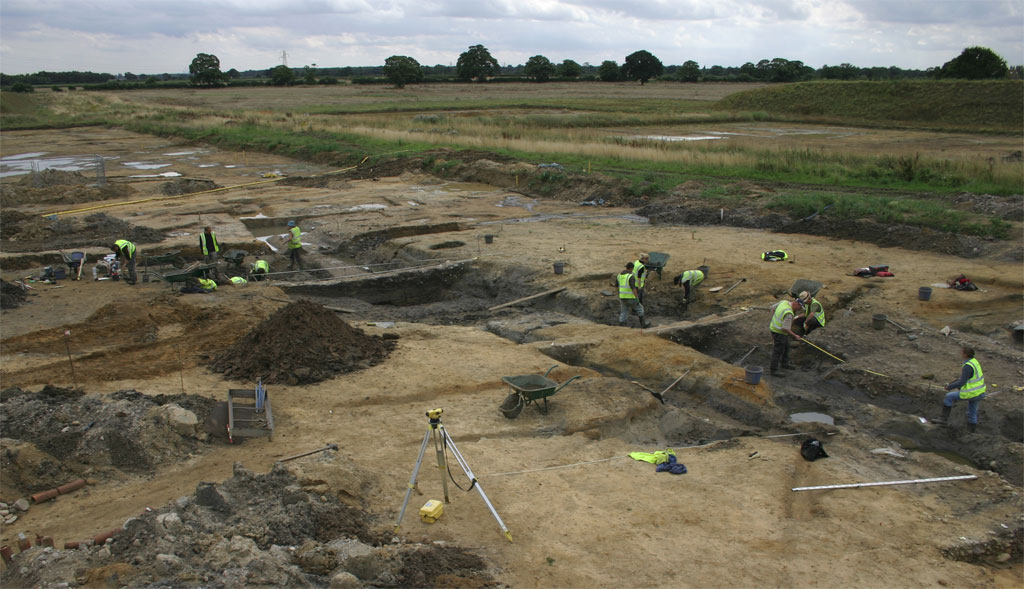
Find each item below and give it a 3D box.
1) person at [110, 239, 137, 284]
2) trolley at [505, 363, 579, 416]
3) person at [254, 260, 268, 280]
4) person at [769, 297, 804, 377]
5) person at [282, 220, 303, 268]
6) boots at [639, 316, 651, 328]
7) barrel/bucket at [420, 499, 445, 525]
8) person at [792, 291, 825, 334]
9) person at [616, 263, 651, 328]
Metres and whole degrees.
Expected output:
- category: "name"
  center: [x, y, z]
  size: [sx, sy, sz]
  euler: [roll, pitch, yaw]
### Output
- category: "person"
  center: [-12.748, -1.135, 23.973]
  size: [0.469, 1.359, 1.251]
  euler: [-13, 27, -33]
- category: "trolley"
  center: [0.737, 2.477, 18.312]
  size: [2.097, 0.598, 1.043]
  euler: [-11, 21, -21]
- category: "person"
  center: [-8.797, -0.861, 25.225]
  size: [0.506, 0.690, 0.909]
  euler: [-4, 20, -18]
- category: "person"
  center: [7.493, 1.153, 19.794]
  size: [0.762, 2.289, 1.234]
  euler: [14, 25, 18]
- category: "person"
  center: [-8.022, -1.841, 26.906]
  size: [0.485, 1.597, 1.453]
  euler: [-3, 22, -16]
- category: "boots"
  center: [4.126, 0.841, 22.121]
  size: [0.293, 0.364, 0.409]
  euler: [0, 29, -9]
- category: "barrel/bucket"
  center: [-1.678, 4.595, 15.279]
  size: [0.501, 0.217, 0.523]
  euler: [0, 19, 0]
- category: "person"
  center: [8.267, 0.451, 20.558]
  size: [1.359, 1.102, 0.958]
  euler: [-3, 25, 12]
- category: "person"
  center: [3.680, 0.002, 21.879]
  size: [1.041, 2.003, 1.181]
  euler: [7, 23, 5]
